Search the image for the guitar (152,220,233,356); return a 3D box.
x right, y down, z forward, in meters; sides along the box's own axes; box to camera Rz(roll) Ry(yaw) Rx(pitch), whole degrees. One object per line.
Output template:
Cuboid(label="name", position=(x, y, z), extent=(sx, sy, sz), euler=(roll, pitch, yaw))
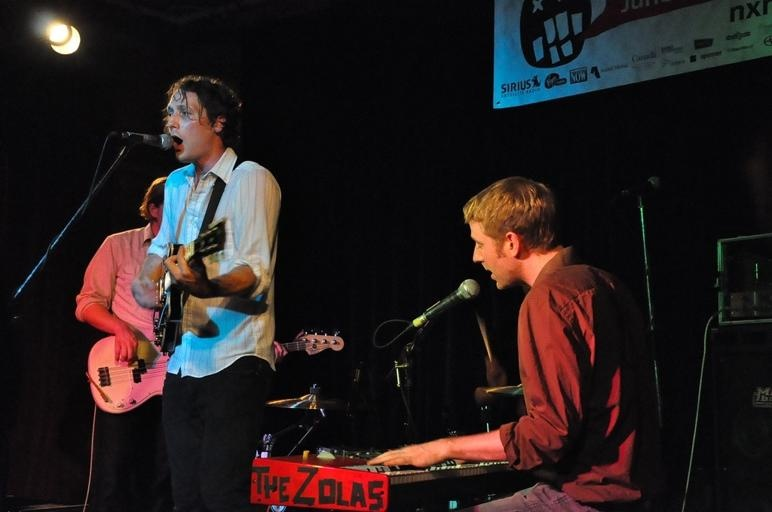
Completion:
Cuboid(label="guitar", position=(-1.068, 0.188, 4.059), extent=(0.328, 0.682, 0.670), euler=(6, -12, -18))

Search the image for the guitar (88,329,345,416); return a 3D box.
Cuboid(label="guitar", position=(-1.231, 0.841, 5.643), extent=(1.874, 0.756, 0.213), euler=(-6, -7, -7))
